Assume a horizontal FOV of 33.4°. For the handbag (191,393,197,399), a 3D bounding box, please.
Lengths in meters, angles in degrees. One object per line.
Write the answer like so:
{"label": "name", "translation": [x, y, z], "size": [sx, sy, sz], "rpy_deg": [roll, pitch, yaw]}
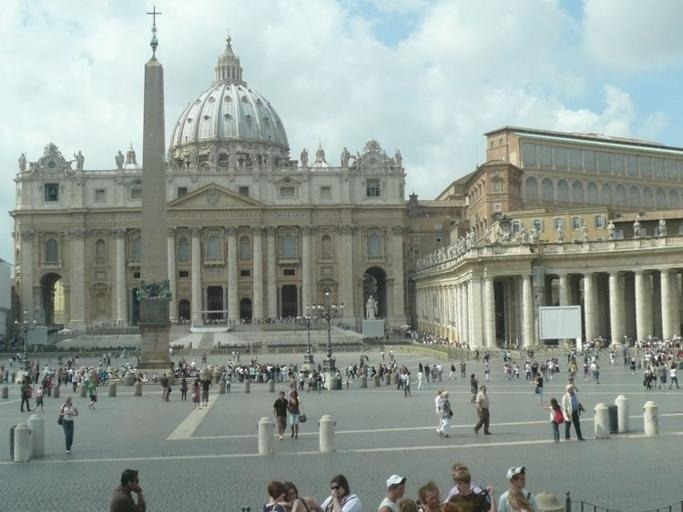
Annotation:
{"label": "handbag", "translation": [-6.950, 6.617, 53.598], "size": [0.206, 0.212, 0.141], "rpy_deg": [-1, -3, -17]}

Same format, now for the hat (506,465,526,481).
{"label": "hat", "translation": [5.196, 6.541, 34.219], "size": [0.483, 0.347, 0.331], "rpy_deg": [-5, -9, 18]}

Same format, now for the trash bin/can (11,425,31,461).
{"label": "trash bin/can", "translation": [-11.964, 6.966, 42.416], "size": [0.607, 1.423, 0.551], "rpy_deg": [0, -9, -12]}
